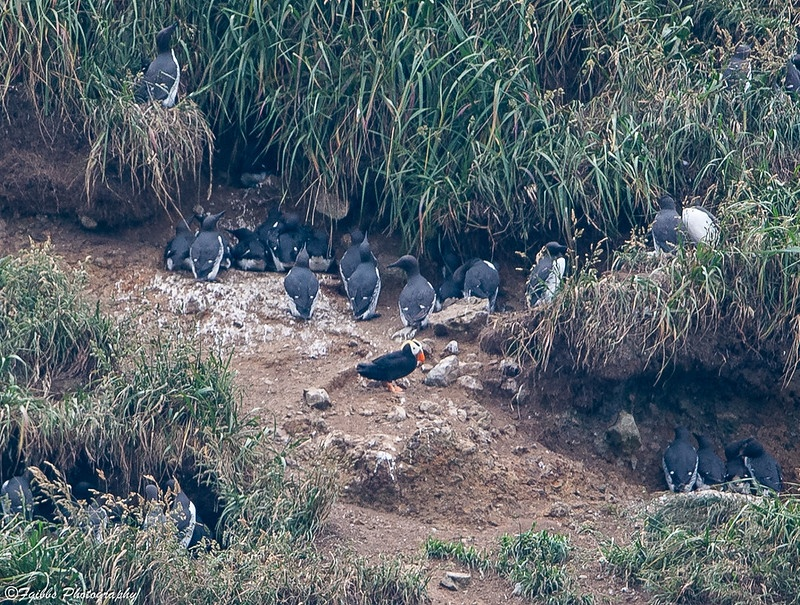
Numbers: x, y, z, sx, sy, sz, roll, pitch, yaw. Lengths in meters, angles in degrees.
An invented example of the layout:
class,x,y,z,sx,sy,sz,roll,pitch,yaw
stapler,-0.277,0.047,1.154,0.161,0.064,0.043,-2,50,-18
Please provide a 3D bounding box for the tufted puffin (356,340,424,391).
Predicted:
class,x,y,z,sx,sy,sz,roll,pitch,yaw
tufted puffin,-0.087,0.677,13.357,0.725,0.566,0.321,1,9,-2

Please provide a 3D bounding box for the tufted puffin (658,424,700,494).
class,x,y,z,sx,sy,sz,roll,pitch,yaw
tufted puffin,2.902,1.698,13.004,0.337,0.543,0.751,4,21,11

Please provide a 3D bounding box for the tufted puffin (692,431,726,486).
class,x,y,z,sx,sy,sz,roll,pitch,yaw
tufted puffin,3.180,1.678,13.078,0.199,0.393,0.648,-16,40,8
